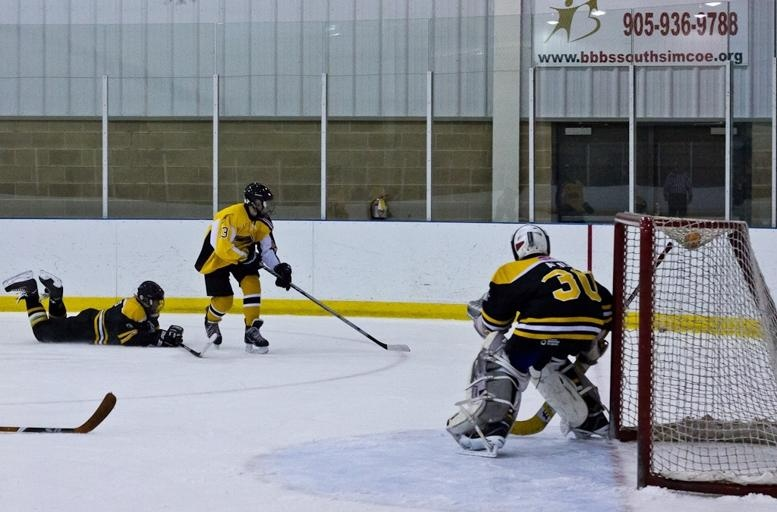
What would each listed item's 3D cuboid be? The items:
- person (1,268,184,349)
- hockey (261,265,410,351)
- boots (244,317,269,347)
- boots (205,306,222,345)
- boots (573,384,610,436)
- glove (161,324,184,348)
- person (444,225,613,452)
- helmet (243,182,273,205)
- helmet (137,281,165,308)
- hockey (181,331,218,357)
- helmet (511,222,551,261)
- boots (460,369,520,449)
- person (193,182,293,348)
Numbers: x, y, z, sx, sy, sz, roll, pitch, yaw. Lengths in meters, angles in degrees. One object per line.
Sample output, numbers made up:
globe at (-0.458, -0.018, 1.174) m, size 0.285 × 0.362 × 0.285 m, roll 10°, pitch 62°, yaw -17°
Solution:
person at (-2.830, 0.591, 10.427) m, size 1.783 × 0.649 × 0.756 m, roll 4°, pitch -7°, yaw 9°
hockey at (-0.508, 0.529, 11.371) m, size 1.338 × 0.158 × 0.062 m, roll 31°, pitch 37°, yaw 7°
boots at (-1.251, 0.712, 10.164) m, size 0.202 × 0.250 × 0.242 m, roll -2°, pitch 8°, yaw -17°
boots at (-1.632, 0.665, 10.291) m, size 0.132 × 0.433 × 0.187 m, roll -8°, pitch -8°, yaw -17°
boots at (1.485, 1.156, 8.002) m, size 0.165 × 0.489 × 0.219 m, roll -4°, pitch 13°, yaw 14°
glove at (-2.035, 0.744, 10.165) m, size 0.195 × 0.239 × 0.356 m, roll -2°, pitch 8°, yaw -12°
person at (1.024, 0.692, 7.872) m, size 1.189 × 1.344 × 0.368 m, roll -2°, pitch 8°, yaw -16°
helmet at (-1.256, -0.581, 10.374) m, size 0.280 × 0.277 × 0.223 m, roll -8°, pitch 13°, yaw -7°
helmet at (-2.213, 0.349, 10.152) m, size 0.243 × 0.234 × 0.193 m, roll 1°, pitch 12°, yaw -4°
hockey at (-1.758, 0.832, 10.083) m, size 0.229 × 0.063 × 0.228 m, roll -24°, pitch 7°, yaw 18°
helmet at (1.065, -0.105, 8.075) m, size 0.224 × 0.253 × 0.282 m, roll 6°, pitch 9°, yaw 43°
boots at (0.811, 1.078, 7.968) m, size 0.575 × 0.625 × 0.545 m, roll -2°, pitch -7°, yaw 18°
person at (-1.452, 0.091, 10.339) m, size 0.788 × 1.506 × 0.710 m, roll 0°, pitch 8°, yaw -4°
